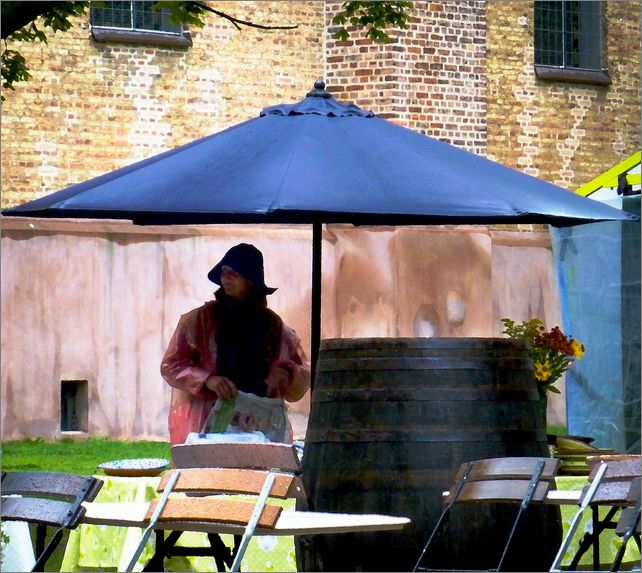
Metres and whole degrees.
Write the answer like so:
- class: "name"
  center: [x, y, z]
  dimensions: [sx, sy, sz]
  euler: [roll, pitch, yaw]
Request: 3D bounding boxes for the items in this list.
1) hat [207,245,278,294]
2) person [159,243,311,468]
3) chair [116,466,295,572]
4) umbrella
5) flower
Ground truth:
- class: "hat"
  center: [-0.495, -0.157, 10.561]
  dimensions: [0.329, 0.239, 0.370]
  euler: [19, -7, -4]
- class: "person"
  center: [-0.554, 0.570, 10.633]
  dimensions: [1.024, 1.594, 0.779]
  euler: [1, 7, -23]
- class: "chair"
  center: [-0.566, 1.073, 8.261]
  dimensions: [0.704, 0.714, 0.533]
  euler: [1, -7, 19]
- class: "umbrella"
  center: [0.023, -0.643, 9.317]
  dimensions: [2.458, 1.204, 2.340]
  euler: [0, 1, -33]
- class: "flower"
  center: [1.451, 0.393, 10.386]
  dimensions: [0.499, 0.507, 0.484]
  euler: [6, -10, -15]
